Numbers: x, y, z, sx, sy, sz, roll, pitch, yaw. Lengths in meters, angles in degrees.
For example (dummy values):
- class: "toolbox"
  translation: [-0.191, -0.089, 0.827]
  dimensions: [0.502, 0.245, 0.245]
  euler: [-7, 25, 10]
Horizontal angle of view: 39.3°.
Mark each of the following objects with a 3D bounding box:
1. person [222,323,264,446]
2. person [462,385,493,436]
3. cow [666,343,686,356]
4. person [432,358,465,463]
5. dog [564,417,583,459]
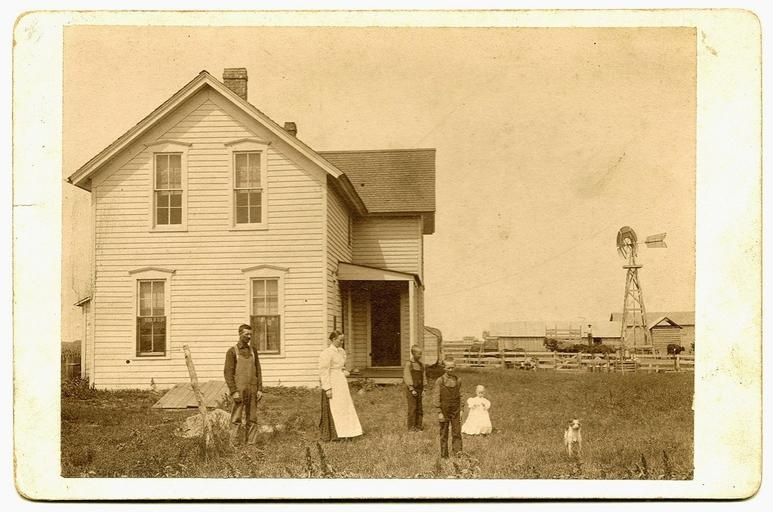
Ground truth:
- class: "person"
  translation: [-3.105, 2.749, 23.201]
  dimensions: [0.637, 2.511, 0.982]
  euler: [-3, -7, 20]
- class: "person"
  translation: [2.022, 3.472, 24.364]
  dimensions: [0.687, 1.083, 0.815]
  euler: [-1, -7, 7]
- class: "cow"
  translation: [6.861, 2.230, 25.941]
  dimensions: [0.304, 0.256, 0.119]
  euler: [4, -4, 42]
- class: "person"
  translation: [1.297, 3.229, 22.847]
  dimensions: [0.556, 2.079, 1.342]
  euler: [-1, -7, 3]
- class: "dog"
  translation: [3.975, 3.893, 23.169]
  dimensions: [0.327, 0.798, 0.467]
  euler: [-1, -7, 7]
